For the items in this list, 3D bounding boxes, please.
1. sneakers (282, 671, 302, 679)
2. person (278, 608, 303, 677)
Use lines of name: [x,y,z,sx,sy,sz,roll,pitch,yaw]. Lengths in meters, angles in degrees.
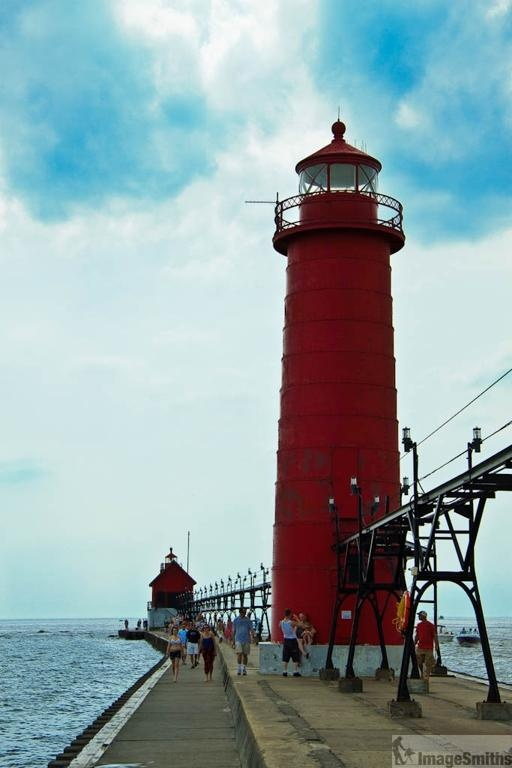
sneakers: [0.829,6.556,22.782,0.489,0.219,0.164,-1,-6,5]
person: [0.816,5.813,22.771,0.480,1.440,0.487,-6,-11,13]
